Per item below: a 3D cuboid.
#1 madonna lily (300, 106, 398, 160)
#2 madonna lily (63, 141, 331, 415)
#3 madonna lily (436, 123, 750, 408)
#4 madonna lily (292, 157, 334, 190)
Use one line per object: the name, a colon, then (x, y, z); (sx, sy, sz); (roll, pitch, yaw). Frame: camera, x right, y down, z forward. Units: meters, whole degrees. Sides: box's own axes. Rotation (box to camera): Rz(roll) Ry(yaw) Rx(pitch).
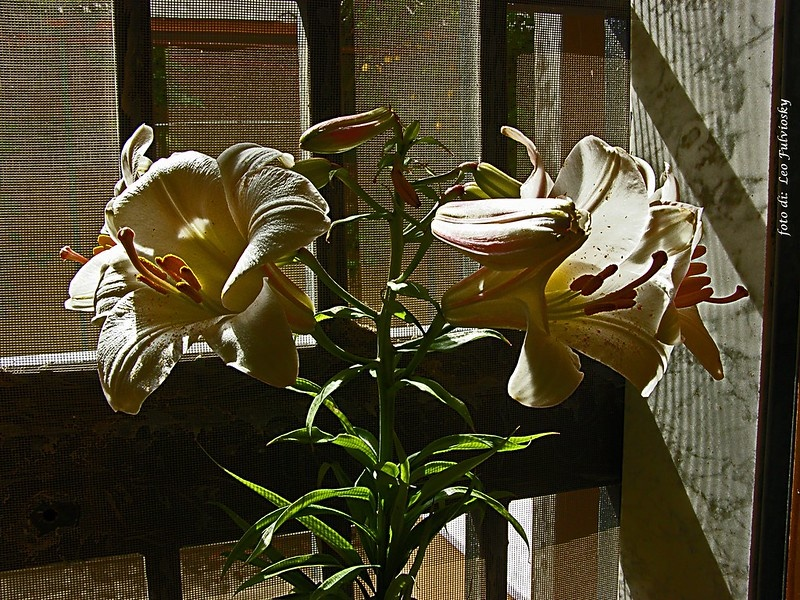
madonna lily: (-0.090, -0.305, 1.685); (0.162, 0.066, 0.079); (-19, 28, -11)
madonna lily: (-0.310, -0.086, 1.605); (0.431, 0.188, 0.541); (-30, 40, -22)
madonna lily: (0.395, -0.047, 1.629); (0.342, 0.416, 0.403); (14, -7, -31)
madonna lily: (-0.152, -0.218, 1.651); (0.063, 0.046, 0.018); (10, -16, 5)
